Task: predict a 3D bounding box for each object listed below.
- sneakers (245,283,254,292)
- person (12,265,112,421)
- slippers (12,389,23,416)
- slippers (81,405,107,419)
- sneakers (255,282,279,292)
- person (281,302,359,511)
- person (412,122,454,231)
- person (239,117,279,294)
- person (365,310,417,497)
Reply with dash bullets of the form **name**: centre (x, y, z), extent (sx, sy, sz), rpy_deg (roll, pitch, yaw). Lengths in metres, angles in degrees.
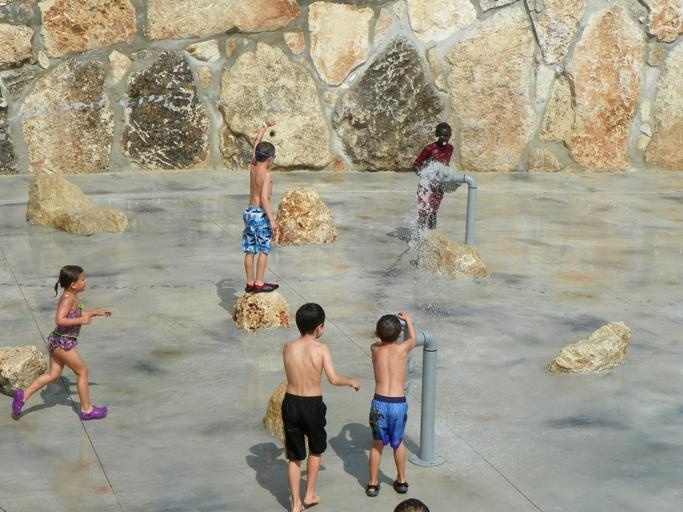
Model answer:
- **sneakers**: centre (-0.774, 0.261, 7.550), extent (0.082, 0.094, 0.224), rpy_deg (0, -1, -4)
- **person**: centre (-1.894, 0.536, 6.027), extent (0.676, 0.994, 0.660), rpy_deg (-2, 11, -11)
- **slippers**: centre (-2.129, 0.957, 5.866), extent (0.085, 0.196, 0.071), rpy_deg (2, 2, -24)
- **slippers**: centre (-1.625, 1.018, 5.848), extent (0.139, 0.058, 0.075), rpy_deg (-3, 12, -8)
- **sneakers**: centre (-0.632, 0.258, 7.563), extent (0.187, 0.067, 0.068), rpy_deg (-3, 8, -16)
- **person**: centre (-0.173, 0.869, 5.222), extent (0.408, 1.132, 0.372), rpy_deg (-6, 12, -27)
- **person**: centre (1.026, -0.923, 9.973), extent (0.417, 1.159, 0.769), rpy_deg (1, 11, 6)
- **person**: centre (-0.695, -0.340, 7.607), extent (0.285, 1.267, 0.516), rpy_deg (-1, 11, -6)
- **person**: centre (0.300, 0.874, 5.317), extent (0.275, 1.034, 0.374), rpy_deg (1, 11, 6)
